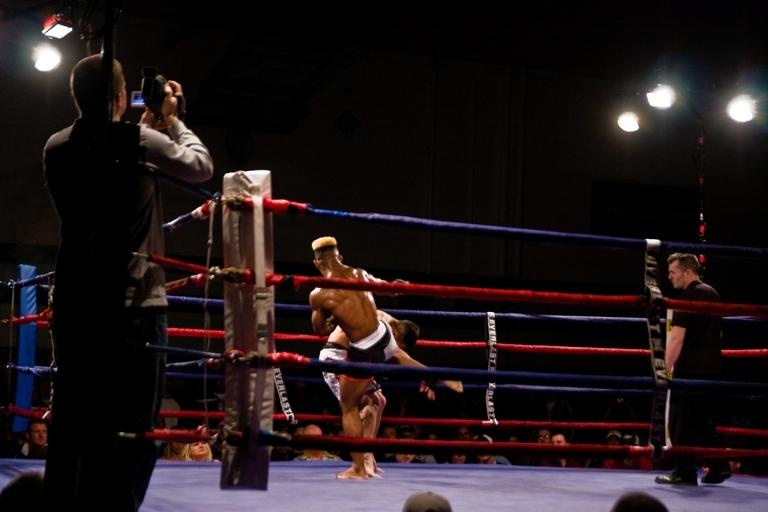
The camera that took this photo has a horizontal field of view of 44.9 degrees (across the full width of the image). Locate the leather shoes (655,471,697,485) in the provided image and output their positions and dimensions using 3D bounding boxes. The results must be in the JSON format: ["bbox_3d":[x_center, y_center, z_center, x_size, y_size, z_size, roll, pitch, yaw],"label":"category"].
[{"bbox_3d":[2.632,2.017,8.391,0.395,0.130,0.134,3,-14,8],"label":"leather shoes"}]

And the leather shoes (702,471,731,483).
[{"bbox_3d":[3.015,2.016,8.408,0.207,0.057,0.134,0,-8,-4],"label":"leather shoes"}]

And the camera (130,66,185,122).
[{"bbox_3d":[-1.632,-1.181,6.840,0.357,0.387,0.179,1,7,-8],"label":"camera"}]

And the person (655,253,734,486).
[{"bbox_3d":[2.794,1.015,8.461,0.638,2.113,0.629,1,-14,7],"label":"person"}]

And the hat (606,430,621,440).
[{"bbox_3d":[2.632,2.075,10.597,0.180,0.077,0.235,2,-14,9],"label":"hat"}]

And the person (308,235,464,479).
[{"bbox_3d":[-0.235,0.879,8.314,0.862,2.203,1.429,-2,-14,18],"label":"person"}]
